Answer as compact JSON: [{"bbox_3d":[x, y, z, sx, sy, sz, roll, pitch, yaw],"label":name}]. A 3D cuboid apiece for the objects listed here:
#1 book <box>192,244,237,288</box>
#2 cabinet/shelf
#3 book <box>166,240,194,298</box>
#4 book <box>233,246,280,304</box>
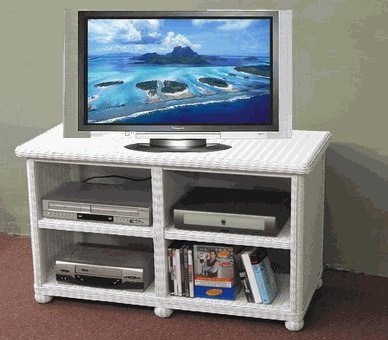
[{"bbox_3d":[0.085,0.375,1.515,0.235,0.211,0.025,1,13,12],"label":"book"},{"bbox_3d":[-0.072,0.258,1.698,1.234,0.594,0.458,1,9,20],"label":"cabinet/shelf"},{"bbox_3d":[-0.053,0.418,1.558,0.106,0.215,0.090,-3,25,-4],"label":"book"},{"bbox_3d":[0.238,0.423,1.510,0.156,0.230,0.191,-14,14,24],"label":"book"}]
